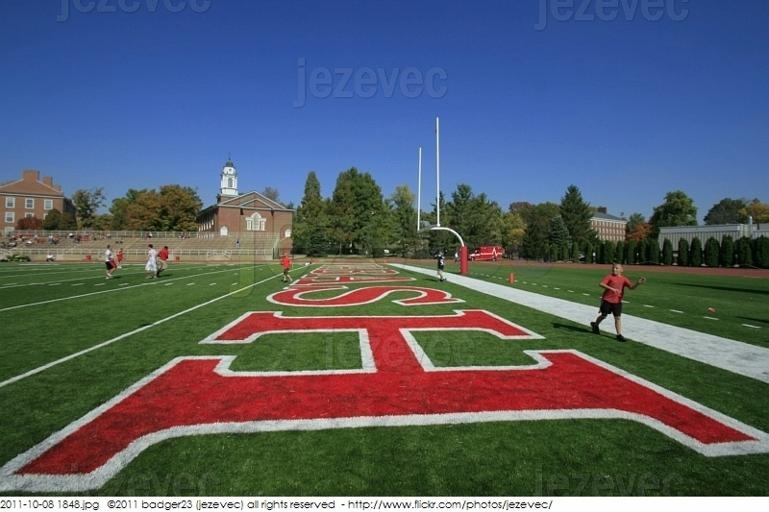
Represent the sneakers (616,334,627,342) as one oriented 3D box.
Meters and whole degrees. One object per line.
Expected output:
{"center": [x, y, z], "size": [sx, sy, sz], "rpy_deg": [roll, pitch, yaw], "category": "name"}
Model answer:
{"center": [5.725, 1.969, 10.619], "size": [0.212, 0.124, 0.328], "rpy_deg": [4, 5, 26], "category": "sneakers"}
